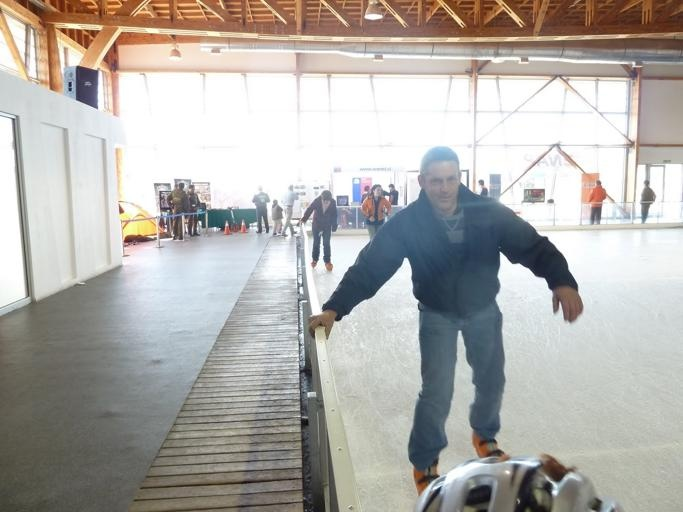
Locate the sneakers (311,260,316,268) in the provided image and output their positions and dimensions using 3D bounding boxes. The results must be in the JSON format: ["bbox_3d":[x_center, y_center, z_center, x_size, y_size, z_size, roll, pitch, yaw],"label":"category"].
[{"bbox_3d":[-0.544,0.161,9.449,0.058,0.136,0.124,-3,-17,12],"label":"sneakers"}]

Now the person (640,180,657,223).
[{"bbox_3d":[10.353,-1.687,16.890,0.423,1.201,0.304,7,13,27],"label":"person"}]

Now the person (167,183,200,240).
[{"bbox_3d":[-4.341,-1.222,13.683,0.677,1.568,1.339,4,12,14],"label":"person"}]

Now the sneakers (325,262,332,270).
[{"bbox_3d":[-0.239,0.203,9.108,0.080,0.138,0.147,1,-2,-12],"label":"sneakers"}]

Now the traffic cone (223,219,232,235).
[{"bbox_3d":[-3.378,-0.825,14.782,0.319,0.501,0.351,-1,-1,1],"label":"traffic cone"}]

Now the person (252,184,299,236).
[{"bbox_3d":[-1.880,-1.299,14.110,1.042,1.501,2.026,-3,13,-19],"label":"person"}]

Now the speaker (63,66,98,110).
[{"bbox_3d":[-4.041,-2.592,7.730,0.490,0.613,0.404,-6,14,-29],"label":"speaker"}]

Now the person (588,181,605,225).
[{"bbox_3d":[8.534,-1.752,16.661,0.463,1.455,0.423,5,12,21],"label":"person"}]

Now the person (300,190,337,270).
[{"bbox_3d":[-0.450,-0.506,9.378,0.701,1.557,0.450,-2,28,-12],"label":"person"}]

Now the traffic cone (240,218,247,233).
[{"bbox_3d":[-3.118,-0.923,15.575,0.327,0.409,0.340,-7,15,-21],"label":"traffic cone"}]

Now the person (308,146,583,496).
[{"bbox_3d":[0.563,0.355,2.681,1.148,1.834,0.515,3,12,9],"label":"person"}]
